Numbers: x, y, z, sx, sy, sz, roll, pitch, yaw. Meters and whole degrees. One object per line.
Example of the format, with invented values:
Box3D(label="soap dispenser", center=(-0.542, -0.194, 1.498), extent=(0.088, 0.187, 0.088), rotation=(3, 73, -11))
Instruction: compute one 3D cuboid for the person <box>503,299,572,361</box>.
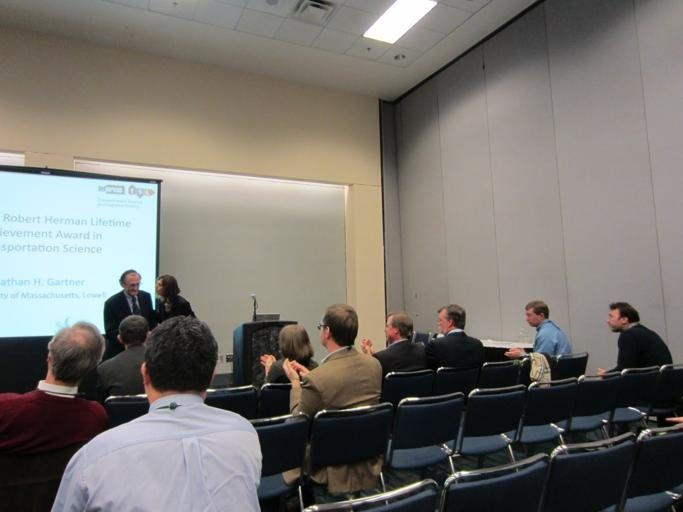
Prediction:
Box3D(label="person", center=(2.323, 0.937, 6.321), extent=(0.621, 0.777, 0.610), rotation=(-3, -1, -30))

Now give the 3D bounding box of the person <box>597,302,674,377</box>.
Box3D(label="person", center=(2.945, 0.846, 5.367), extent=(0.588, 0.821, 0.633), rotation=(0, -6, -25))
